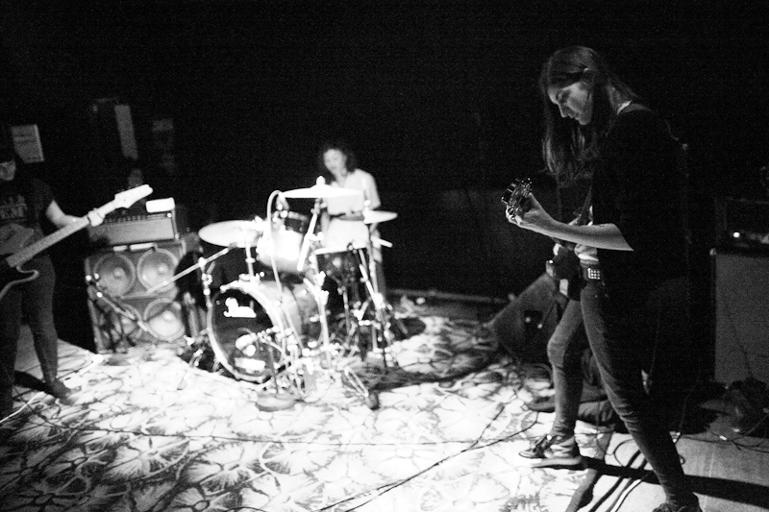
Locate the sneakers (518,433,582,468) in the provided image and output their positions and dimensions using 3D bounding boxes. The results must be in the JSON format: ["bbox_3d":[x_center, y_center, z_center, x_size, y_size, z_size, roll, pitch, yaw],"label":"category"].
[{"bbox_3d":[1.116,1.317,3.904,0.410,0.182,0.175,0,-2,11],"label":"sneakers"}]

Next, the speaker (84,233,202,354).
[{"bbox_3d":[-2.252,0.278,5.773,1.137,1.089,1.067,0,28,2],"label":"speaker"}]

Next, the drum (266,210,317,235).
[{"bbox_3d":[-0.775,-0.289,4.696,0.297,0.209,0.075,7,50,4],"label":"drum"}]

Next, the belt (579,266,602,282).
[{"bbox_3d":[1.200,0.106,3.318,0.084,0.060,0.072,-9,12,-34],"label":"belt"}]

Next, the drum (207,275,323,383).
[{"bbox_3d":[-0.987,0.613,4.803,0.725,0.731,0.568,14,15,20],"label":"drum"}]
